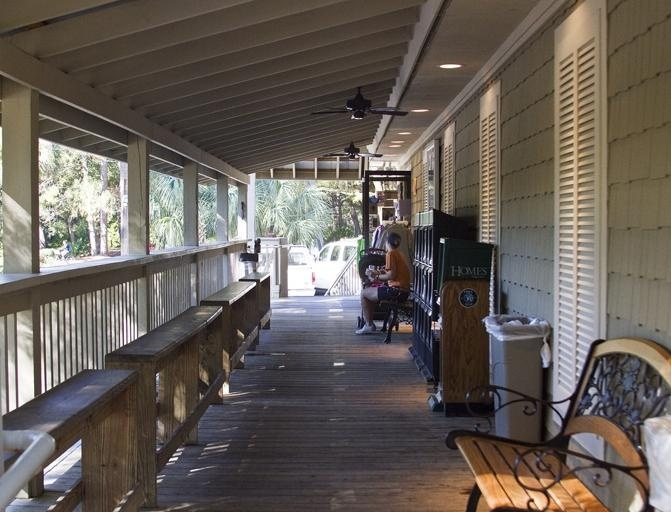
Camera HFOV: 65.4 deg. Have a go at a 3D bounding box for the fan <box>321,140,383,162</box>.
[{"bbox_3d":[0.389,-2.404,11.782,0.755,0.280,0.750,2,6,23],"label":"fan"}]

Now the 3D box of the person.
[{"bbox_3d":[0.701,0.441,7.979,0.767,1.620,1.864,0,4,2],"label":"person"}]

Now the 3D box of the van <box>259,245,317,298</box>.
[{"bbox_3d":[-1.217,0.449,13.933,0.879,1.622,3.213,1,4,6],"label":"van"}]

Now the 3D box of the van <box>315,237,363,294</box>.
[{"bbox_3d":[0.097,0.313,16.461,1.129,1.291,1.986,-1,2,-32],"label":"van"}]

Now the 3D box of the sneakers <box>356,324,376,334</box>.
[{"bbox_3d":[0.475,1.150,8.180,0.327,0.169,0.130,1,-2,-1],"label":"sneakers"}]
